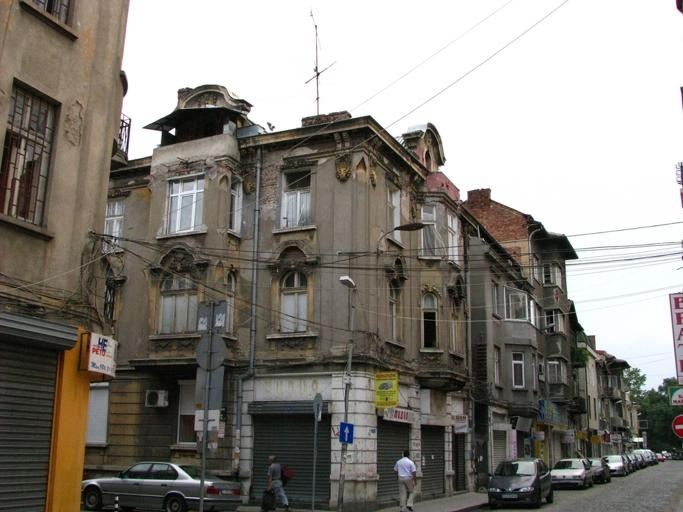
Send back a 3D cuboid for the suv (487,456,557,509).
[{"bbox_3d":[6.989,8.944,34.173,1.455,1.135,2.572,-8,-30,17],"label":"suv"}]
